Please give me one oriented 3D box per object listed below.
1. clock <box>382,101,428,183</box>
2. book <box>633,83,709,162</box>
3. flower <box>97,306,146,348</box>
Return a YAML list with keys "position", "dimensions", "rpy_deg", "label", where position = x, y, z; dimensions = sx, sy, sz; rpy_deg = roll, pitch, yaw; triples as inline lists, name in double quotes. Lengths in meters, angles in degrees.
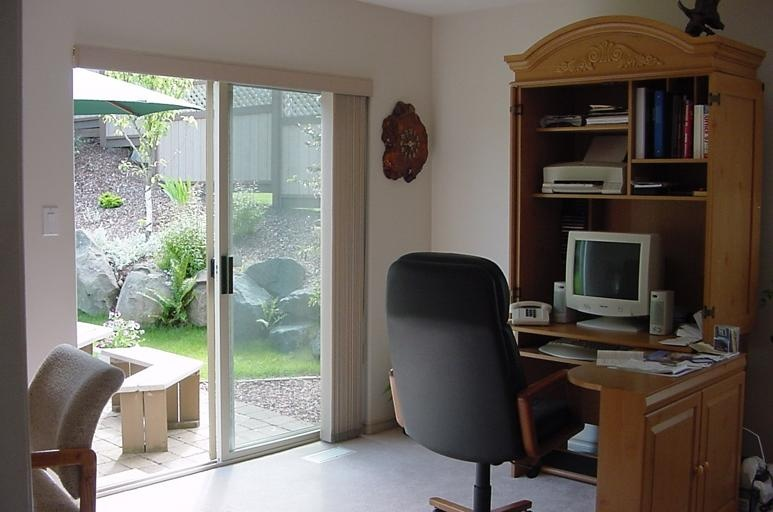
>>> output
- position: [0.157, -0.890, 4.655]
  dimensions: [0.115, 0.622, 0.506]
  rpy_deg: [5, 8, 40]
  label: "clock"
- position: [1.665, -0.692, 3.499]
  dimensions: [0.392, 0.516, 0.548]
  rpy_deg: [1, 2, 32]
  label: "book"
- position: [-2.839, 0.775, 6.373]
  dimensions: [0.317, 0.436, 0.420]
  rpy_deg: [1, -27, -40]
  label: "flower"
